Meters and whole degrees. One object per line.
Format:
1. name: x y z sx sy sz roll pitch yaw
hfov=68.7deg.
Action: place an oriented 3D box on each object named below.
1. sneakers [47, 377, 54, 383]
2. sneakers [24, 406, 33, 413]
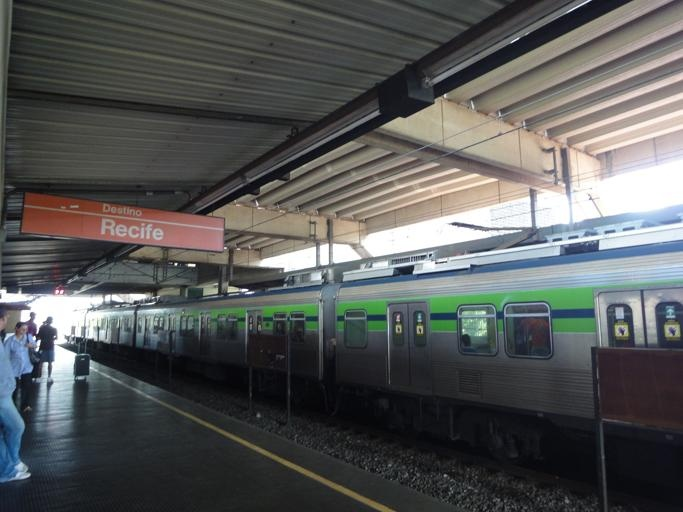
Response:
1. sneakers: -8.493 3.625 14.482 0.107 0.163 0.552 9 -10 -31
2. sneakers: -6.729 3.292 10.673 0.144 0.068 0.100 -3 -2 -29
